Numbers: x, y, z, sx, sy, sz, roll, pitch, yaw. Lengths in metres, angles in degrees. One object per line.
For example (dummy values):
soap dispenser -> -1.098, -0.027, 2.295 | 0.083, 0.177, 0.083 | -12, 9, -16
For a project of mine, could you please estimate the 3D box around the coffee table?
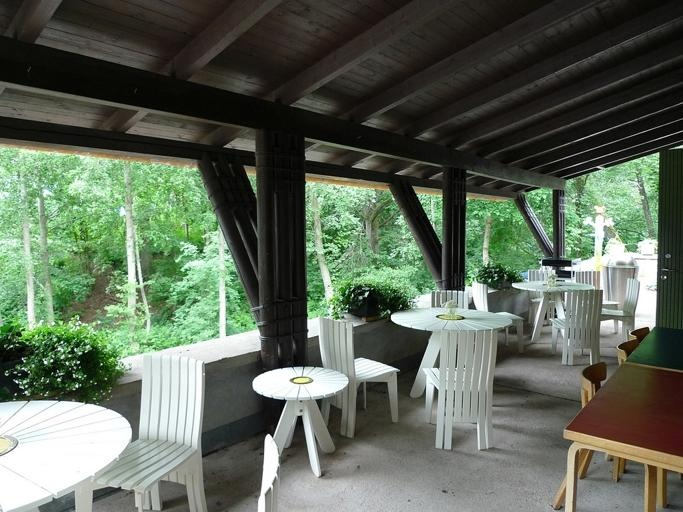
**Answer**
coffee table -> -0.352, 1.327, 3.980 | 0.794, 0.505, 0.686 | -3, -8, -15

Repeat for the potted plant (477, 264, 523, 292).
potted plant -> 2.763, 0.349, 8.399 | 0.717, 0.318, 0.616 | 3, 0, -14
